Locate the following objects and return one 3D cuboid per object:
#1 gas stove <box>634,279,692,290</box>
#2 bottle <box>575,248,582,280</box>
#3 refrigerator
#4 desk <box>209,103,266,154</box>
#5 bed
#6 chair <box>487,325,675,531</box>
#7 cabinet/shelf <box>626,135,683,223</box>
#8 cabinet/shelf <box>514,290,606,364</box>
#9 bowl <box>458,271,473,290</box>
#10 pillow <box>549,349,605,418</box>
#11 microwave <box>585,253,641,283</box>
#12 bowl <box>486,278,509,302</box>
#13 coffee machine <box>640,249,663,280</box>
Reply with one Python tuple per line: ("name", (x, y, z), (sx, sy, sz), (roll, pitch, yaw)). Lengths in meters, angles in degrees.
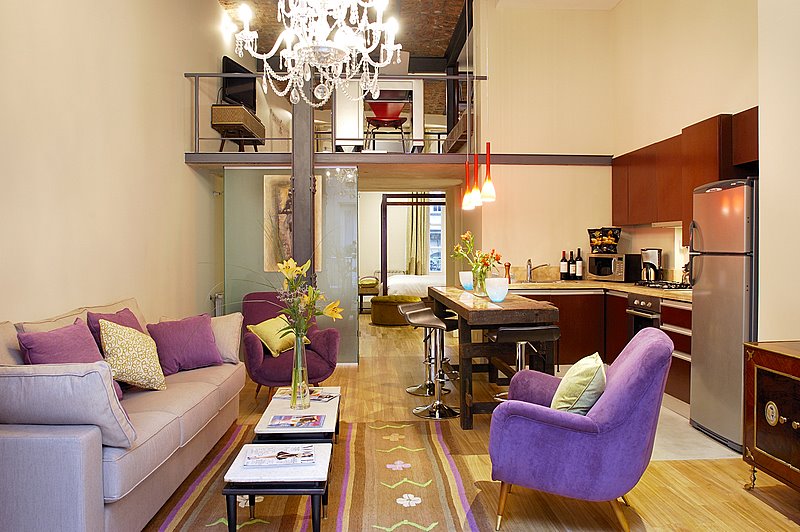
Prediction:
("gas stove", (2.921, 0.207, 6.514), (0.372, 0.063, 0.749), (-2, 4, -1))
("bottle", (2.350, -0.033, 7.700), (0.098, 0.391, 0.257), (0, 6, 19))
("refrigerator", (2.930, 0.425, 5.313), (0.281, 2.371, 0.603), (-4, 6, -19))
("desk", (-2.284, -1.919, 8.214), (0.656, 0.591, 1.387), (-3, 4, -10))
("bed", (0.341, -0.642, 13.770), (1.485, 2.237, 4.075), (-2, 4, 2))
("chair", (1.329, 1.245, 4.860), (1.452, 1.650, 1.291), (1, -5, 10))
("cabinet/shelf", (2.939, -0.996, 6.736), (0.362, 0.991, 1.138), (-1, 1, -2))
("cabinet/shelf", (2.075, 0.708, 7.565), (0.770, 1.178, 1.196), (0, 0, 1))
("bowl", (0.745, 0.164, 6.633), (0.165, 0.149, 0.181), (0, -5, 0))
("pillow", (1.342, 0.902, 4.455), (0.357, 0.508, 0.658), (2, -11, -1))
("microwave", (2.714, 0.025, 7.396), (0.347, 0.350, 0.529), (1, -2, -16))
("bowl", (0.993, 0.233, 5.794), (0.210, 0.226, 0.224), (-1, -3, 0))
("coffee machine", (2.975, -0.021, 6.940), (0.217, 0.360, 0.288), (1, 6, 23))
